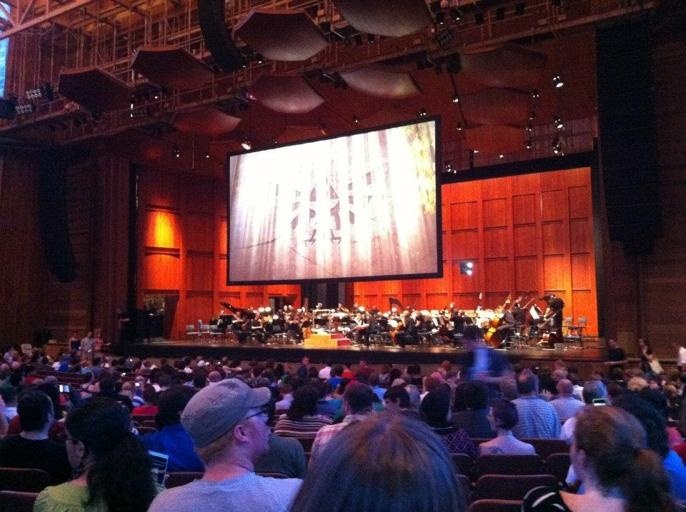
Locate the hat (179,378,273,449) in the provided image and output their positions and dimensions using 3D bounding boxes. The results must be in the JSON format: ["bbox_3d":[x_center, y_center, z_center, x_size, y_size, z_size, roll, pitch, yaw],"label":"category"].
[{"bbox_3d":[-0.581,0.748,2.793,0.379,0.178,0.283,-31,25,-36],"label":"hat"}]
